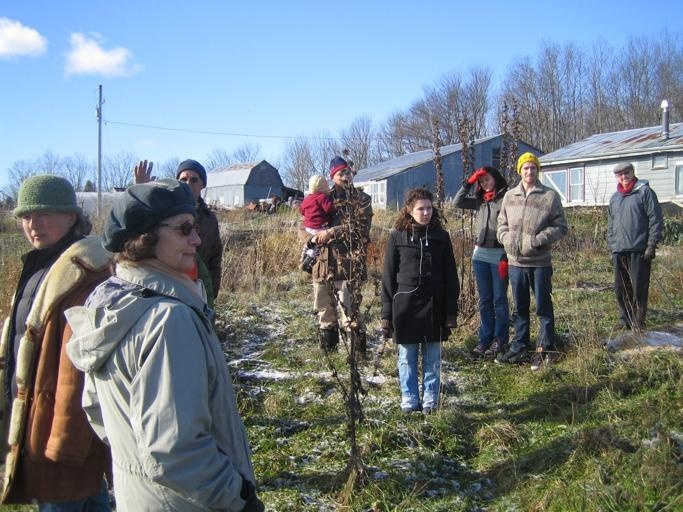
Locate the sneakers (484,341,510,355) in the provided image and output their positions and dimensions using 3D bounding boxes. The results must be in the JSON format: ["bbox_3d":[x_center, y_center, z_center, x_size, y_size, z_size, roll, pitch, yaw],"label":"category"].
[{"bbox_3d":[1.787,1.041,7.645,0.340,0.175,0.110,-2,3,-44],"label":"sneakers"}]

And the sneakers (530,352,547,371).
[{"bbox_3d":[2.073,1.124,7.017,0.267,0.134,0.092,-33,8,-33],"label":"sneakers"}]

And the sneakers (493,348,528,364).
[{"bbox_3d":[1.872,1.088,7.300,0.313,0.175,0.168,0,-1,3],"label":"sneakers"}]

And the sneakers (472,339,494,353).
[{"bbox_3d":[1.619,1.052,7.559,0.099,0.156,0.311,16,6,40],"label":"sneakers"}]

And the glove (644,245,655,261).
[{"bbox_3d":[3.683,-0.037,7.936,0.137,0.177,0.106,5,4,42],"label":"glove"}]

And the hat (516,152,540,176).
[{"bbox_3d":[2.030,-1.018,7.216,0.199,0.271,0.253,-2,-9,0],"label":"hat"}]

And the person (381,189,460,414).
[{"bbox_3d":[0.725,0.395,6.209,0.717,1.447,0.482,-3,2,9],"label":"person"}]

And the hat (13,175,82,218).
[{"bbox_3d":[-1.959,-0.400,4.493,0.377,0.312,0.441,0,4,11],"label":"hat"}]

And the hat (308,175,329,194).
[{"bbox_3d":[-0.252,-0.818,7.467,0.155,0.251,0.219,8,26,39],"label":"hat"}]

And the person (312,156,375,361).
[{"bbox_3d":[0.020,0.065,6.662,0.630,1.642,2.376,-3,2,-3],"label":"person"}]

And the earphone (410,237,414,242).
[{"bbox_3d":[0.658,-0.156,6.249,0.024,0.046,0.009,-4,-8,31],"label":"earphone"}]

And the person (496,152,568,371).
[{"bbox_3d":[2.028,0.038,7.133,0.762,2.293,0.428,-3,2,19],"label":"person"}]

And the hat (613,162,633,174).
[{"bbox_3d":[3.541,-1.118,8.350,0.197,0.115,0.275,-13,3,28],"label":"hat"}]

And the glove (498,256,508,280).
[{"bbox_3d":[1.790,0.141,7.404,0.050,0.210,0.140,4,2,0],"label":"glove"}]

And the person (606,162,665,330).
[{"bbox_3d":[3.576,-0.178,8.105,0.593,1.983,1.062,-2,2,21],"label":"person"}]

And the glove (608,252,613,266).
[{"bbox_3d":[4.087,0.052,10.117,0.067,0.071,0.252,-16,-27,10],"label":"glove"}]
